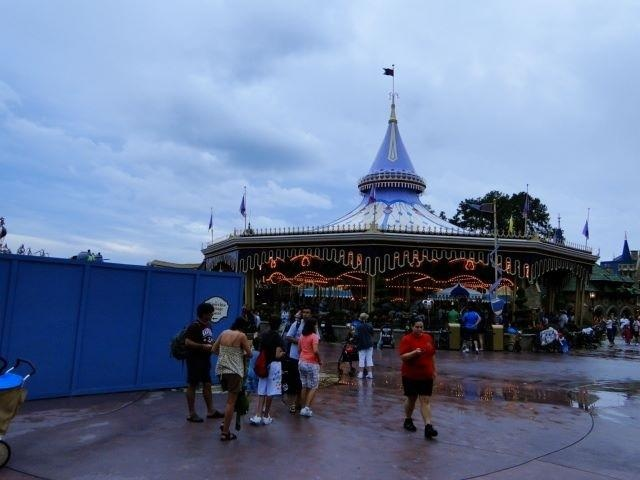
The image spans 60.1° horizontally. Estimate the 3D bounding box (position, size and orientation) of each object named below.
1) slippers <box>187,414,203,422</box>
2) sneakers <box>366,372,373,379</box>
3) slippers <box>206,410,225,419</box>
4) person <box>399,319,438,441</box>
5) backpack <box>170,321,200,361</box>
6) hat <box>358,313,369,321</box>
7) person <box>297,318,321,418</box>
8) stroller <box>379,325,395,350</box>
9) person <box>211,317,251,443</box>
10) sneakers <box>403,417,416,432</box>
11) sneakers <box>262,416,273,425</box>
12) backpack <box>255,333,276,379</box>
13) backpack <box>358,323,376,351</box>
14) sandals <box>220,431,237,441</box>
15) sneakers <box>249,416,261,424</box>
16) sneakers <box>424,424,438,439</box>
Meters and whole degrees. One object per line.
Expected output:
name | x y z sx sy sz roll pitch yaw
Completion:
slippers | -2.282 3.262 10.108 0.269 0.129 0.224 5 -11 -16
sneakers | 1.373 3.816 15.531 0.143 0.127 0.146 -3 -15 -43
slippers | -1.967 3.265 10.370 0.311 0.161 0.123 2 0 -2
person | 1.816 2.527 10.266 0.676 2.034 1.298 0 -10 11
backpack | -2.715 2.010 10.987 0.379 0.753 0.492 7 2 -2
hat | 1.173 2.069 14.888 0.145 0.192 0.310 1 -21 -1
person | -0.247 2.495 10.817 0.471 1.879 0.545 -1 -10 16
stroller | 2.781 4.203 23.742 0.535 0.960 0.888 -1 -18 4
person | -1.522 2.332 9.452 0.613 2.007 0.834 4 -10 -15
sneakers | 1.661 3.375 10.072 0.303 0.250 0.106 -8 -9 38
sneakers | -0.965 3.319 10.158 0.076 0.091 0.195 1 0 14
backpack | -1.007 2.088 10.035 0.349 0.855 0.247 3 -9 -7
backpack | 1.218 2.661 15.277 0.427 0.730 0.700 1 -10 3
sandals | -1.496 3.220 9.090 0.108 0.139 0.315 1 0 32
sneakers | -1.179 3.292 10.073 0.227 0.156 0.186 1 -10 4
sneakers | 1.915 3.315 9.580 0.227 0.238 0.272 0 -10 10
